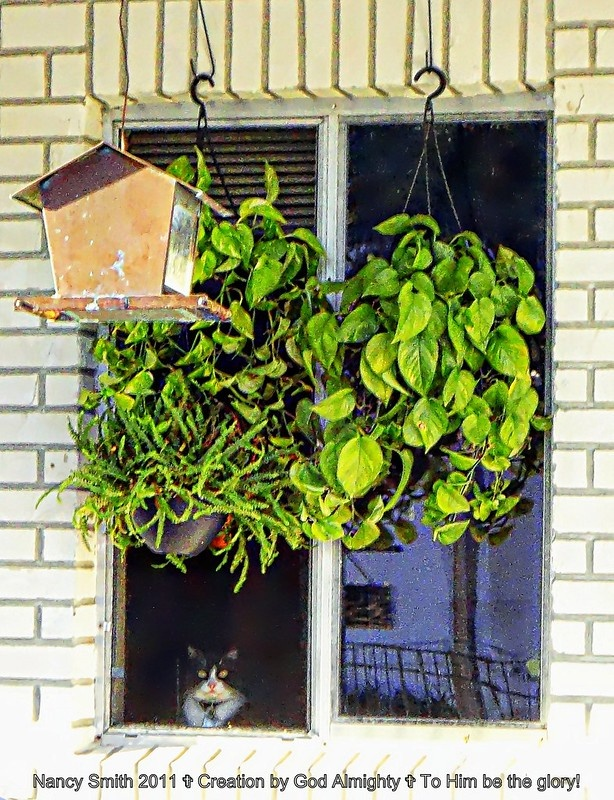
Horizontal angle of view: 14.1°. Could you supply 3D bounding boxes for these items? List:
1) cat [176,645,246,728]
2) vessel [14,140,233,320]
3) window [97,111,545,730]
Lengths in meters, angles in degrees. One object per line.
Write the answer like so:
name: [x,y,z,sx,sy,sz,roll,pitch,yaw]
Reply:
cat: [-0.197,0.640,5.522,0.143,0.221,0.068,1,-3,7]
vessel: [-0.370,-0.338,5.165,0.423,0.356,0.418,0,-5,3]
window: [0.075,0.047,5.405,1.075,1.784,0.062,2,1,4]
